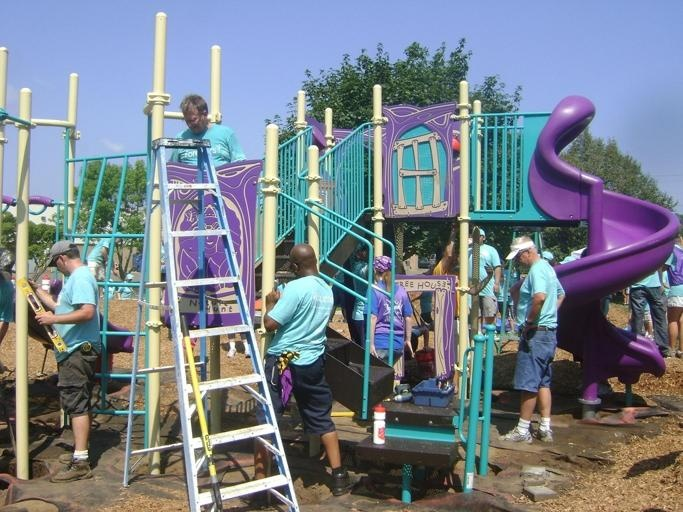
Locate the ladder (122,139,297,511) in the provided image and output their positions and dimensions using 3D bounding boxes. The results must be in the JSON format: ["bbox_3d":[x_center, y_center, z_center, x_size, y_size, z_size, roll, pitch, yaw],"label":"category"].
[{"bbox_3d":[-1.414,0.631,8.109,1.488,3.644,2.071,0,1,-22],"label":"ladder"}]

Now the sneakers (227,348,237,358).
[{"bbox_3d":[-1.859,1.639,13.442,0.089,0.124,0.173,-1,-15,12],"label":"sneakers"}]

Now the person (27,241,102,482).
[{"bbox_3d":[-2.933,1.061,8.563,0.682,2.461,0.872,0,1,-22],"label":"person"}]

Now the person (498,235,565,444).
[{"bbox_3d":[2.267,0.968,9.425,0.556,2.357,0.619,1,1,15],"label":"person"}]

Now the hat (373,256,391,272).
[{"bbox_3d":[0.544,0.110,10.397,0.217,0.210,0.300,0,1,1],"label":"hat"}]

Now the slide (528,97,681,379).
[{"bbox_3d":[3.518,-0.286,10.681,1.639,3.819,1.841,0,1,4],"label":"slide"}]

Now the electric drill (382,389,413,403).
[{"bbox_3d":[0.616,1.495,8.524,0.306,0.114,0.109,0,1,-4],"label":"electric drill"}]

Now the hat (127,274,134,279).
[{"bbox_3d":[-3.809,0.372,14.380,0.119,0.066,0.163,-3,3,-33],"label":"hat"}]

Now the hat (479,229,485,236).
[{"bbox_3d":[2.102,-0.341,11.828,0.111,0.096,0.176,6,12,7],"label":"hat"}]
